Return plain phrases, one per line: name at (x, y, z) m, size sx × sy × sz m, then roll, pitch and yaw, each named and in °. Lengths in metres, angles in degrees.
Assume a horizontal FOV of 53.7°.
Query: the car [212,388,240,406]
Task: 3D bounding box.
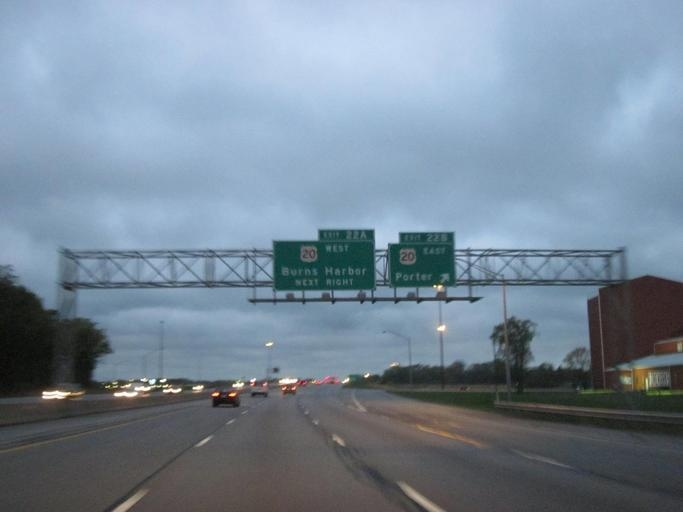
car at (-8.791, 11.008, 52.008) m, size 1.910 × 1.488 × 3.403 m, roll 0°, pitch -15°, yaw -7°
